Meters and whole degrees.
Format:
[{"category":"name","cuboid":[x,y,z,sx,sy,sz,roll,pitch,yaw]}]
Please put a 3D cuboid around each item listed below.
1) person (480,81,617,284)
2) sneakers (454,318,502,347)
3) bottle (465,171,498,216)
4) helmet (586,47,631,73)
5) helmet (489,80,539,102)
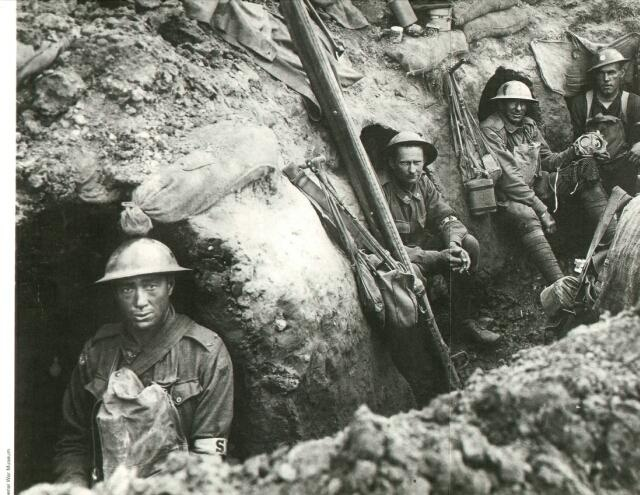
[{"category":"person","cuboid":[1.520,-0.448,6.877,0.719,1.351,0.324,-21,14,-17]},{"category":"sneakers","cuboid":[1.045,0.556,6.770,0.159,0.253,0.103,-60,-3,-20]},{"category":"bottle","cuboid":[1.053,-0.360,6.790,0.218,0.334,0.120,-6,-8,-6]},{"category":"helmet","cuboid":[1.951,-1.278,6.965,0.173,0.093,0.177,-22,2,-36]},{"category":"helmet","cuboid":[1.298,-1.030,6.836,0.168,0.085,0.177,-1,10,-25]}]
